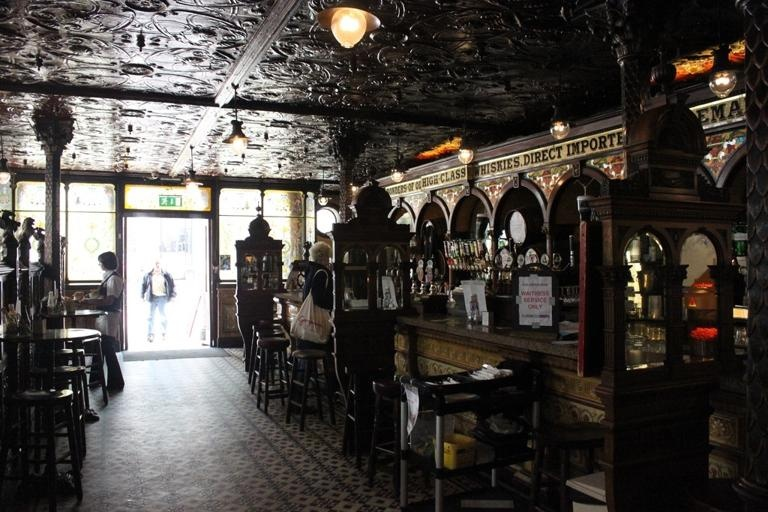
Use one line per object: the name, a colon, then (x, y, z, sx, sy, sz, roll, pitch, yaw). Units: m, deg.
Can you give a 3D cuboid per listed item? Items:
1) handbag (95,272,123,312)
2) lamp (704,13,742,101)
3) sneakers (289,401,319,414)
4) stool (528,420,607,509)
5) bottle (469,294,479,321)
handbag: (-4.622, 0.581, 11.655, 0.537, 0.859, 0.914, 4, -7, -22)
lamp: (4.100, -2.307, 8.176, 0.362, 0.828, 1.475, 1, 6, 27)
sneakers: (-1.108, 2.182, 9.680, 0.297, 0.220, 0.288, 3, -11, -17)
stool: (1.626, 1.881, 6.032, 0.584, 0.869, 0.762, 0, 5, 15)
bottle: (1.018, 0.573, 7.715, 0.076, 0.299, 0.209, -3, 5, -17)
